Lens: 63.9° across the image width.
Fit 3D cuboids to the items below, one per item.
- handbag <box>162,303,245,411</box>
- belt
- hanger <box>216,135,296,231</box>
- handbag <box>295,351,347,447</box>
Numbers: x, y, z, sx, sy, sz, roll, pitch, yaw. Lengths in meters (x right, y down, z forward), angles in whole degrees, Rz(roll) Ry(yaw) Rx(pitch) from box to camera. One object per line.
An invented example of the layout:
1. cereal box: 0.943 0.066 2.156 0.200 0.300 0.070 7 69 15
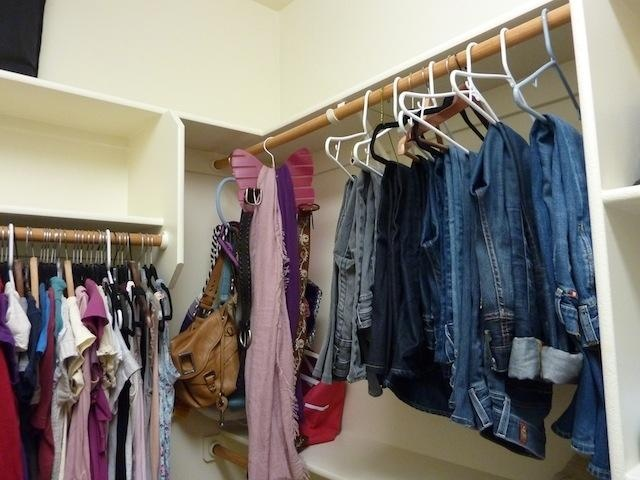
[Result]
1. handbag: -0.439 0.399 1.907 0.275 0.373 0.123 -26 15 -30
2. belt: -0.276 0.107 1.872 0.089 0.471 0.237 3 -6 -13
3. hanger: -0.255 -0.239 2.059 0.362 0.431 0.042 1 -3 -35
4. handbag: -0.036 0.659 2.193 0.191 0.378 0.269 4 -11 -21
